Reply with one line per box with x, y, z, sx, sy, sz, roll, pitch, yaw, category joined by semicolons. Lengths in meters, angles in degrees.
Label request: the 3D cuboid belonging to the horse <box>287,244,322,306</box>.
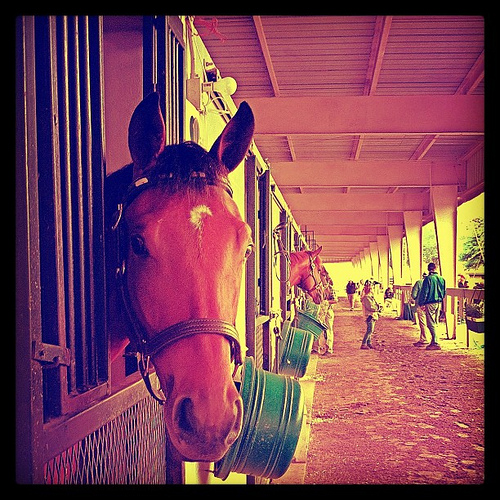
0.837;0.389;7.822;0.464;0.884;1.384;0;-2;8;horse

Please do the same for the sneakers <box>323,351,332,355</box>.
1.250;1.673;8.579;0.147;0.067;0.211;0;-2;15;sneakers

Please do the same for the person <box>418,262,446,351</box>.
3.059;0.976;8.892;0.393;1.522;0.788;0;-1;23;person

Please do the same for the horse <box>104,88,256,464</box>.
-0.281;0.098;2.003;0.567;1.490;0.439;1;-1;0;horse

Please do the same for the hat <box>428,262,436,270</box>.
3.001;0.265;8.667;0.092;0.142;0.134;-6;5;7;hat

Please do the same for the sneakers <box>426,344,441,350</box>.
3.233;1.701;9.275;0.219;0.113;0.111;1;1;14;sneakers
